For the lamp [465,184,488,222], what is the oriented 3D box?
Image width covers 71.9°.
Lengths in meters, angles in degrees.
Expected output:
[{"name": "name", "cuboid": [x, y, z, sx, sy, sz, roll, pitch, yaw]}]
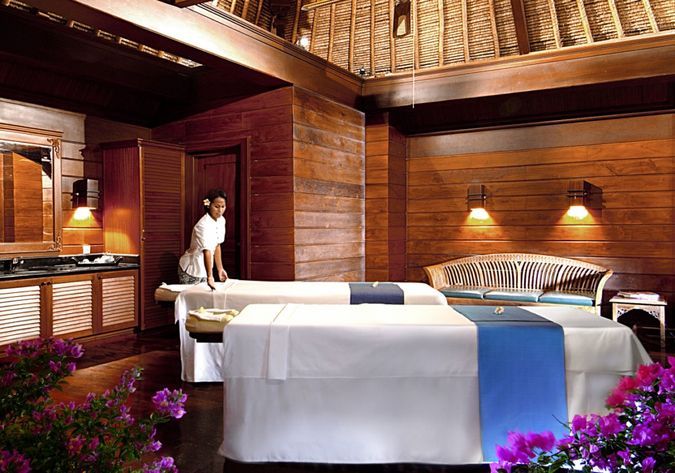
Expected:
[{"name": "lamp", "cuboid": [2.017, -0.558, 6.752, 0.316, 0.340, 0.284, -1, 2, 14]}]

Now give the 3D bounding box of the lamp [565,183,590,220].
[{"name": "lamp", "cuboid": [3.167, -0.462, 6.166, 0.293, 0.525, 0.198, -3, 9, 25]}]

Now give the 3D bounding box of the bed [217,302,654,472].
[{"name": "bed", "cuboid": [0.532, 0.755, 2.848, 2.088, 0.564, 1.113, 0, 1, 4]}]

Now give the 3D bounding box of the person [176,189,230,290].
[{"name": "person", "cuboid": [-1.369, 0.020, 4.756, 0.586, 0.959, 0.812, -9, 8, -18]}]
